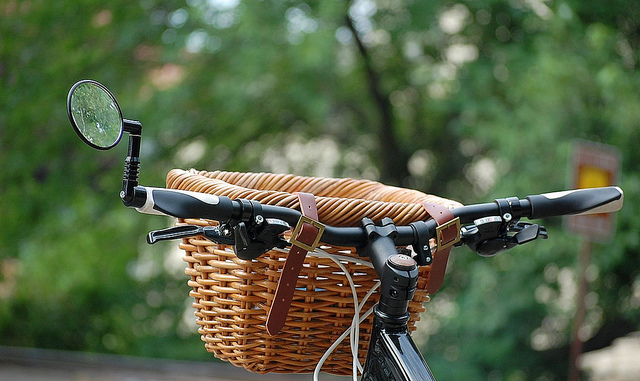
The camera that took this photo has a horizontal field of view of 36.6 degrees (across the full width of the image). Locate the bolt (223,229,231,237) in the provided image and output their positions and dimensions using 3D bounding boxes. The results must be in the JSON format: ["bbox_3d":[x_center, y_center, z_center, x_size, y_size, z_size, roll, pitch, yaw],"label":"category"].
[{"bbox_3d":[-0.579,0.258,5.979,0.047,0.029,0.035,-6,60,-9],"label":"bolt"}]

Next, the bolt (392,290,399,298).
[{"bbox_3d":[0.466,0.638,5.956,0.036,0.015,0.042,0,89,-4],"label":"bolt"}]

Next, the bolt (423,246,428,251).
[{"bbox_3d":[0.660,0.358,6.035,0.030,0.009,0.031,3,86,-10],"label":"bolt"}]

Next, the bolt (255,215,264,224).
[{"bbox_3d":[-0.380,0.175,5.969,0.051,0.013,0.053,1,87,-14],"label":"bolt"}]

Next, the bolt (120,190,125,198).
[{"bbox_3d":[-1.226,0.020,5.956,0.031,0.008,0.032,-8,89,-4],"label":"bolt"}]

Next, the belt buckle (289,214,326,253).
[{"bbox_3d":[-0.078,0.263,6.008,0.172,0.111,0.163,22,60,8],"label":"belt buckle"}]

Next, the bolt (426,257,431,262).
[{"bbox_3d":[0.675,0.427,6.031,0.025,0.007,0.026,5,82,-4],"label":"bolt"}]
